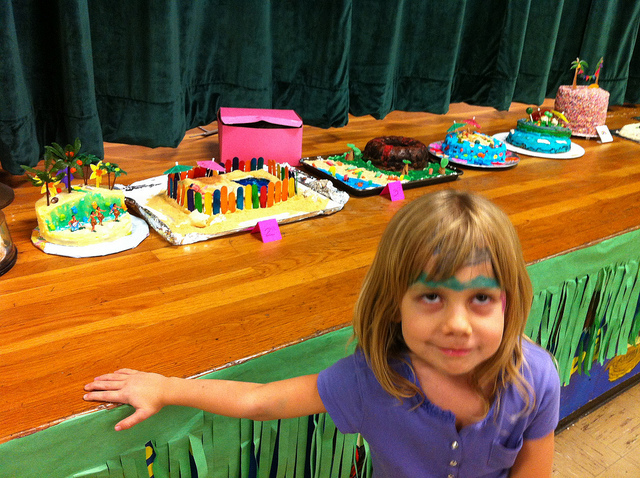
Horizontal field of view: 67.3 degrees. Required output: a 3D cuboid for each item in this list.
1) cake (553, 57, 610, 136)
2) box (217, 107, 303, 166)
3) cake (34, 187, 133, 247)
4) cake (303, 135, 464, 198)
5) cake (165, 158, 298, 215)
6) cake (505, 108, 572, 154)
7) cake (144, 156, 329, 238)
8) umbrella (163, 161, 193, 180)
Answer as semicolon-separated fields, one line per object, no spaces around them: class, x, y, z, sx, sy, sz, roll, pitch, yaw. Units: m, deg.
cake;1.255;-0.667;2.301;0.229;0.328;0.239;0;21;17
box;-0.200;-0.333;1.593;0.253;0.166;0.200;-3;26;-12
cake;-0.585;-0.057;1.202;0.209;0.121;0.106;-7;24;-20
cake;0.222;-0.269;1.705;0.532;0.130;0.316;-10;26;-28
cake;-0.240;-0.161;1.423;0.306;0.088;0.223;-13;30;-28
cake;0.968;-0.482;2.134;0.281;0.176;0.294;15;20;22
cake;-0.252;-0.152;1.436;0.509;0.122;0.373;-10;26;-28
umbrella;-0.411;-0.206;1.416;0.072;0.045;0.181;-3;23;-13
